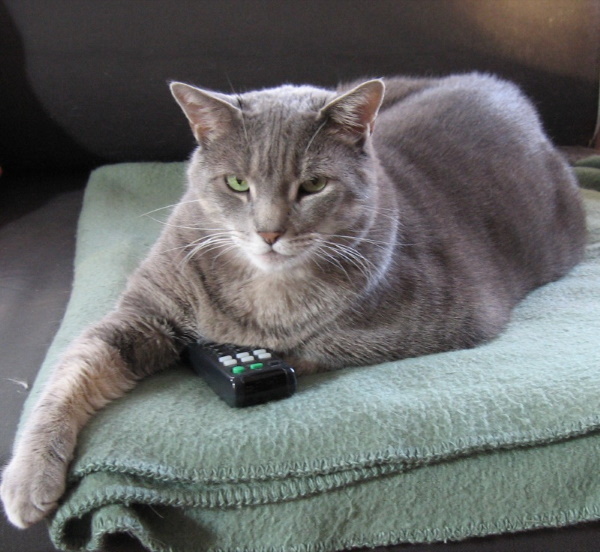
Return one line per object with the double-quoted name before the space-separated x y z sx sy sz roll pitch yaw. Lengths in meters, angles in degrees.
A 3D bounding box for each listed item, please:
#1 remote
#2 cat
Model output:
"remote" -0.113 0.154 1.134 0.123 0.051 0.222 -11 18 -24
"cat" 0.120 -0.080 1.300 0.893 0.443 1.170 2 23 28
